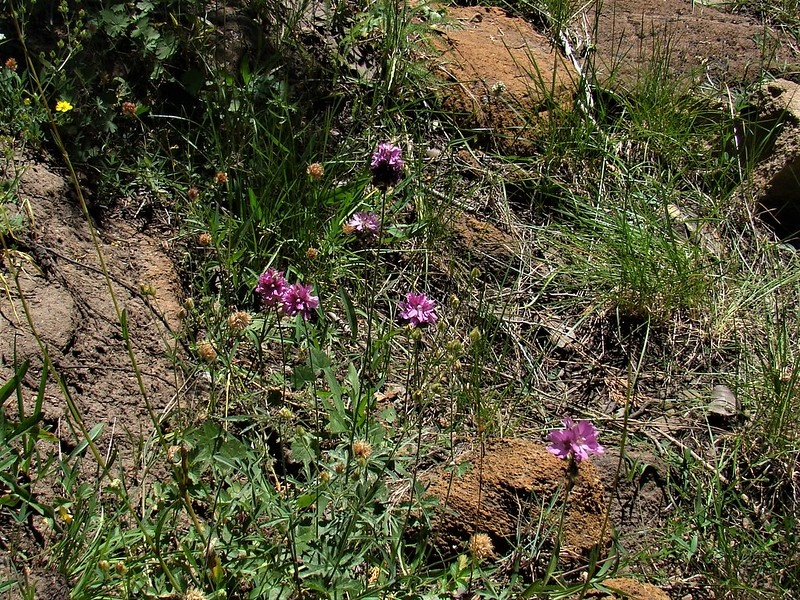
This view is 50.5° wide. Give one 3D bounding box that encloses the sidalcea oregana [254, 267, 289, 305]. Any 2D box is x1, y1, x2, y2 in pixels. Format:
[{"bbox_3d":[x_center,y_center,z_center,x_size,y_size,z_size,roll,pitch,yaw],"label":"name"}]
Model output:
[{"bbox_3d":[-0.472,-0.058,3.156,0.111,0.081,0.144,7,91,-4],"label":"sidalcea oregana"}]
